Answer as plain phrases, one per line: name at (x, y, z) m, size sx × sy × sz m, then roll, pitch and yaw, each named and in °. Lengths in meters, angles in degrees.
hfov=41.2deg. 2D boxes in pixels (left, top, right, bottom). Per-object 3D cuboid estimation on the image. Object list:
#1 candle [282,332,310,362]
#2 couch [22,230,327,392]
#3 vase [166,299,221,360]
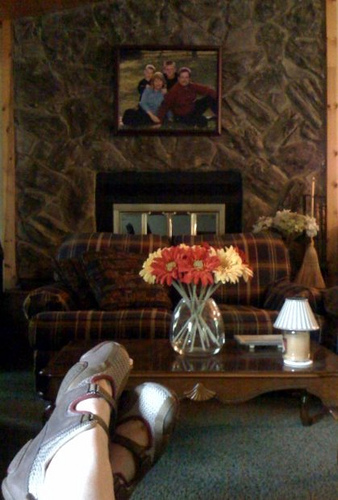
candle at (0.384, 0.285, 1.324) m, size 0.077 × 0.084 × 0.078 m, roll 1°, pitch -9°, yaw -5°
couch at (0.051, 0.304, 2.312) m, size 1.434 × 0.785 × 0.775 m, roll 0°, pitch 1°, yaw -6°
vase at (0.094, 0.272, 1.509) m, size 0.206 × 0.209 × 0.217 m, roll -4°, pitch -6°, yaw 38°
